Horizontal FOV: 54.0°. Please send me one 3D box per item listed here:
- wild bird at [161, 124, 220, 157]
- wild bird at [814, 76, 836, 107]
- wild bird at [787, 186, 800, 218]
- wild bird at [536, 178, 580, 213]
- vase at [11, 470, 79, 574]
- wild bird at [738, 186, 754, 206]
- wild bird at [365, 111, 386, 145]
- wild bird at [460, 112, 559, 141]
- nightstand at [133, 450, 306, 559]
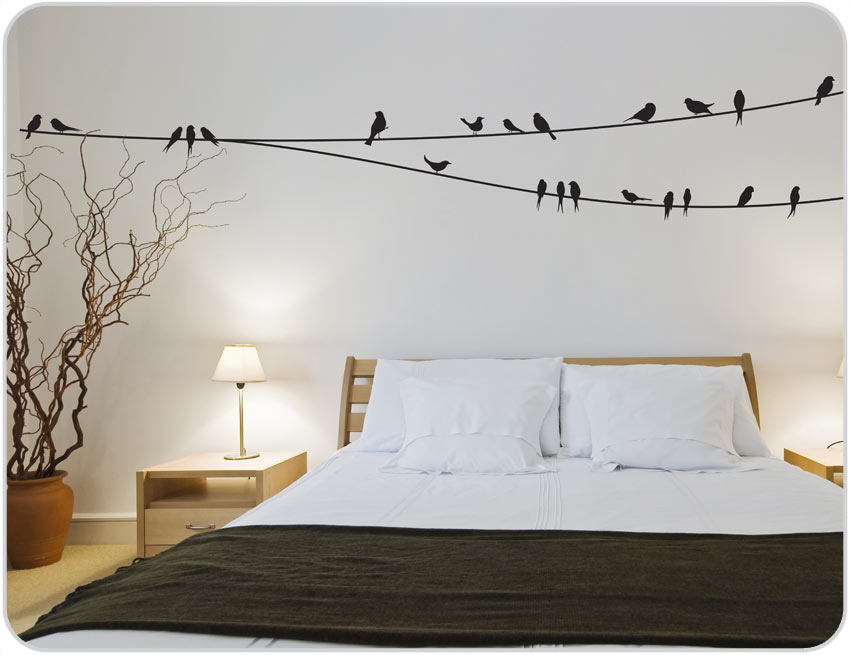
[{"bbox_3d":[-1.324,-1.065,4.757,0.198,0.181,0.069,1,7,2],"label":"wild bird"},{"bbox_3d":[2.116,-1.261,4.409,0.074,0.171,0.071,27,7,38],"label":"wild bird"},{"bbox_3d":[1.963,-0.674,4.458,0.047,0.178,0.052,9,-2,42],"label":"wild bird"},{"bbox_3d":[0.726,-0.720,4.511,0.240,0.163,0.037,0,12,7],"label":"wild bird"},{"bbox_3d":[-1.972,0.992,4.250,0.342,0.467,0.383,-5,-8,2],"label":"vase"},{"bbox_3d":[1.711,-0.699,4.437,0.087,0.107,0.025,-6,13,-19],"label":"wild bird"},{"bbox_3d":[-0.268,-1.093,4.587,0.063,0.214,0.063,14,6,14],"label":"wild bird"},{"bbox_3d":[0.453,-1.086,4.526,0.505,0.146,0.100,-2,13,-4],"label":"wild bird"},{"bbox_3d":[-1.144,1.052,4.460,0.640,0.628,0.735,2,-11,1],"label":"nightstand"}]
